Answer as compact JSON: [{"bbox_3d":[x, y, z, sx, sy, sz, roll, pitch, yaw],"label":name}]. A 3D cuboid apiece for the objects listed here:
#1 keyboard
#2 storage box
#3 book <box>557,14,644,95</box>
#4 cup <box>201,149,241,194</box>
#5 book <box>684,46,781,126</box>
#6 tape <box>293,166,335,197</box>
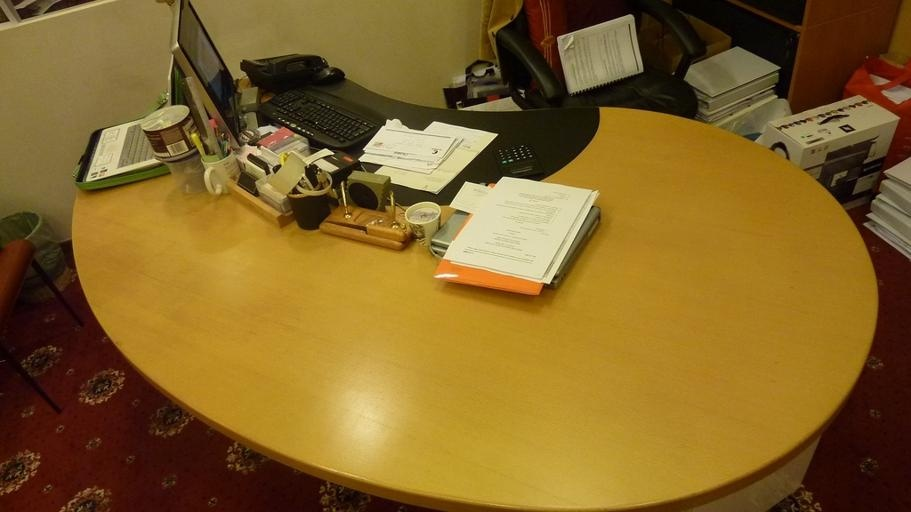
[{"bbox_3d":[-0.692,-0.710,3.253,0.578,0.074,0.354,29,52,26],"label":"keyboard"},{"bbox_3d":[2.070,-0.544,3.415,0.579,0.487,0.299,-26,44,-5],"label":"storage box"},{"bbox_3d":[0.827,-1.153,3.641,0.494,0.317,0.172,-18,28,-1],"label":"book"},{"bbox_3d":[-1.095,-0.413,3.046,0.132,0.179,0.212,10,38,7],"label":"cup"},{"bbox_3d":[1.685,-1.092,3.941,0.541,0.172,0.431,30,59,34],"label":"book"},{"bbox_3d":[-0.632,-0.334,2.837,0.118,0.063,0.164,-19,41,-26],"label":"tape"}]
